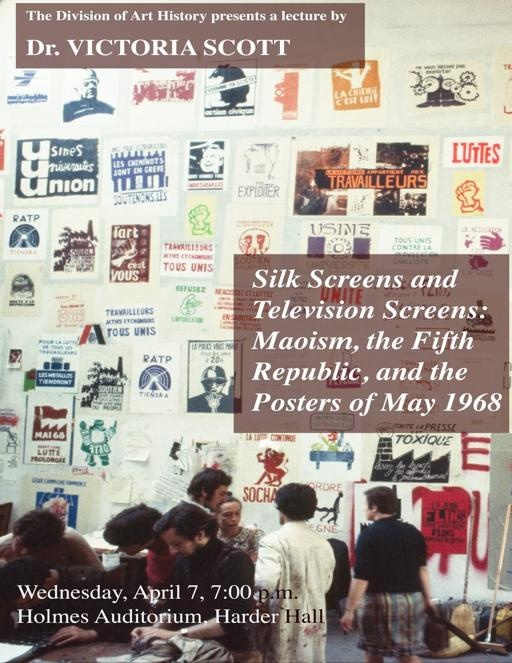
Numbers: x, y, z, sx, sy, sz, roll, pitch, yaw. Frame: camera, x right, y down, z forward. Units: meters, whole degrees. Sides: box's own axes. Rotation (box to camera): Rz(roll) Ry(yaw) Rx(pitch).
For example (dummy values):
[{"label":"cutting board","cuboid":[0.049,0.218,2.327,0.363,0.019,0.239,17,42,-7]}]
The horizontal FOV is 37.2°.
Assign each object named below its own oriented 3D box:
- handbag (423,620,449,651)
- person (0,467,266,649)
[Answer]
[{"label":"handbag","cuboid":[0.780,1.335,3.307,0.148,0.123,0.081,-2,-6,19]},{"label":"person","cuboid":[-0.228,1.011,3.400,0.996,0.754,0.221,-1,-2,14]}]
